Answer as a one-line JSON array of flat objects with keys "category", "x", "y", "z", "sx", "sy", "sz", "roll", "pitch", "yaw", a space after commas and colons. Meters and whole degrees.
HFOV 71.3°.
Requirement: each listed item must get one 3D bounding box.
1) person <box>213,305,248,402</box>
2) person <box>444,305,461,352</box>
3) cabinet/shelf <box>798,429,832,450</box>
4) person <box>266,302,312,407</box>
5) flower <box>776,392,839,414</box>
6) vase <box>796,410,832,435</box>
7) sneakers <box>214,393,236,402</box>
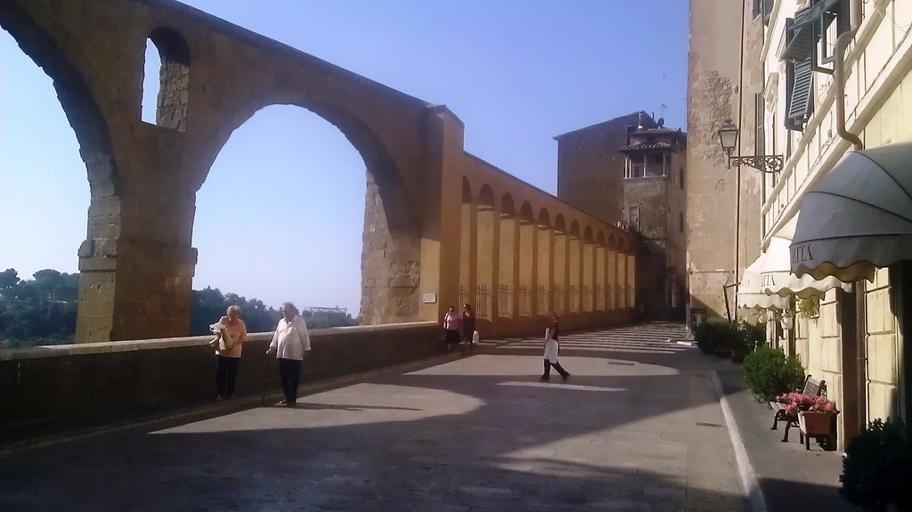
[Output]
[{"category": "person", "x": -5.613, "y": 2.377, "z": 15.717, "sx": 0.793, "sy": 2.252, "sz": 0.506, "roll": -1, "pitch": 2, "yaw": -35}, {"category": "person", "x": -0.160, "y": 3.024, "z": 26.270, "sx": 0.557, "sy": 1.839, "sz": 0.909, "roll": 1, "pitch": 2, "yaw": -2}, {"category": "cabinet/shelf", "x": 7.139, "y": 3.716, "z": 12.546, "sx": 0.334, "sy": 0.228, "sz": 0.508, "roll": 0, "pitch": -8, "yaw": 8}, {"category": "person", "x": -4.148, "y": 2.430, "z": 15.742, "sx": 0.868, "sy": 2.480, "sz": 0.936, "roll": 0, "pitch": 2, "yaw": -27}, {"category": "flower", "x": 7.012, "y": 3.023, "z": 12.634, "sx": 0.907, "sy": 0.446, "sz": 0.618, "roll": 1, "pitch": 1, "yaw": 34}, {"category": "vase", "x": 6.995, "y": 3.287, "z": 12.448, "sx": 0.423, "sy": 0.344, "sz": 0.522, "roll": 0, "pitch": -20, "yaw": 2}, {"category": "sneakers", "x": -5.618, "y": 3.488, "z": 15.529, "sx": 0.135, "sy": 0.171, "sz": 0.409, "roll": -3, "pitch": -20, "yaw": 27}]
